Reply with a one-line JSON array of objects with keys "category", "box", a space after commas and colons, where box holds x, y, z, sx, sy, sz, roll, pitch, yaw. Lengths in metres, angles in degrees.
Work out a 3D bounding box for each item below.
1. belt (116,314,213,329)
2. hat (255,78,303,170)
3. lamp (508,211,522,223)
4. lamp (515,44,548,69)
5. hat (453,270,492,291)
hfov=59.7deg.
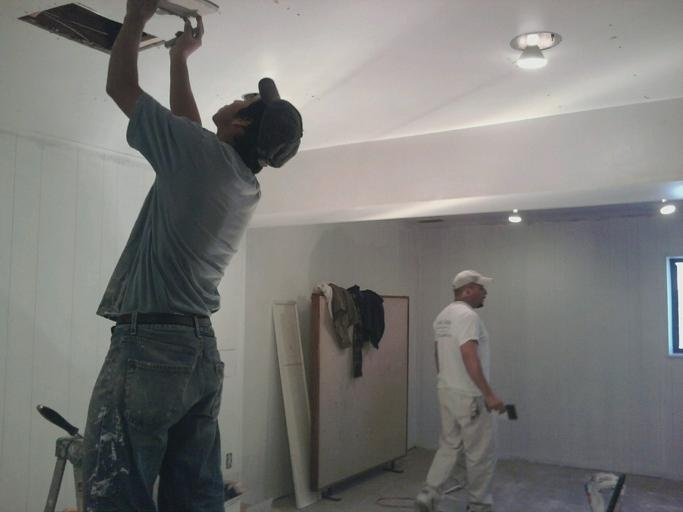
[{"category": "belt", "box": [-0.577, 0.212, 1.932, 0.296, 0.057, 0.082, -3, -2, -20]}, {"category": "hat", "box": [-0.202, -0.448, 2.037, 0.139, 0.275, 0.177, 4, 4, 19]}, {"category": "lamp", "box": [1.694, -0.370, 5.852, 0.097, 0.147, 0.049, 5, 6, 29]}, {"category": "lamp", "box": [0.879, -0.904, 2.755, 0.130, 0.070, 0.208, -4, -2, 18]}, {"category": "hat", "box": [1.009, 0.178, 4.627, 0.273, 0.124, 0.186, -8, 2, 2]}]
